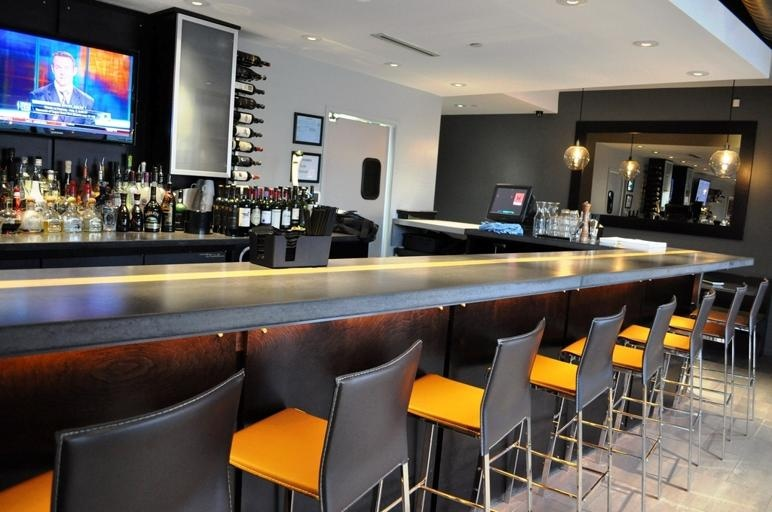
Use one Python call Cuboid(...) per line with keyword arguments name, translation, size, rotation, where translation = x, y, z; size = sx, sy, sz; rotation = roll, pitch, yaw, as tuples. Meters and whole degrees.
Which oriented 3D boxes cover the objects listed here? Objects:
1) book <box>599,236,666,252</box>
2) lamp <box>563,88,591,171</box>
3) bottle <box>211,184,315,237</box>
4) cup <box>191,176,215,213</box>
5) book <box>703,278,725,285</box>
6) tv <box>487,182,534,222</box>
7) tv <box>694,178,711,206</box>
Cuboid(name="book", translation=(2.251, -0.102, 4.890), size=(0.532, 0.072, 0.612), rotation=(2, 7, -5))
Cuboid(name="lamp", translation=(2.848, -1.886, 7.908), size=(0.296, 1.228, 1.345), rotation=(5, 8, 20))
Cuboid(name="bottle", translation=(-1.139, -0.404, 4.777), size=(0.777, 0.420, 0.325), rotation=(-1, 8, -27))
Cuboid(name="cup", translation=(-1.590, -0.531, 4.676), size=(0.171, 0.251, 0.276), rotation=(1, 8, -15))
Cuboid(name="book", translation=(4.015, 0.318, 6.618), size=(0.229, 0.060, 0.062), rotation=(12, 13, 17))
Cuboid(name="tv", translation=(1.320, -0.564, 5.790), size=(0.478, 0.398, 0.303), rotation=(10, 10, 44))
Cuboid(name="tv", translation=(8.361, -1.676, 14.260), size=(0.101, 0.977, 0.992), rotation=(-2, -6, 44))
